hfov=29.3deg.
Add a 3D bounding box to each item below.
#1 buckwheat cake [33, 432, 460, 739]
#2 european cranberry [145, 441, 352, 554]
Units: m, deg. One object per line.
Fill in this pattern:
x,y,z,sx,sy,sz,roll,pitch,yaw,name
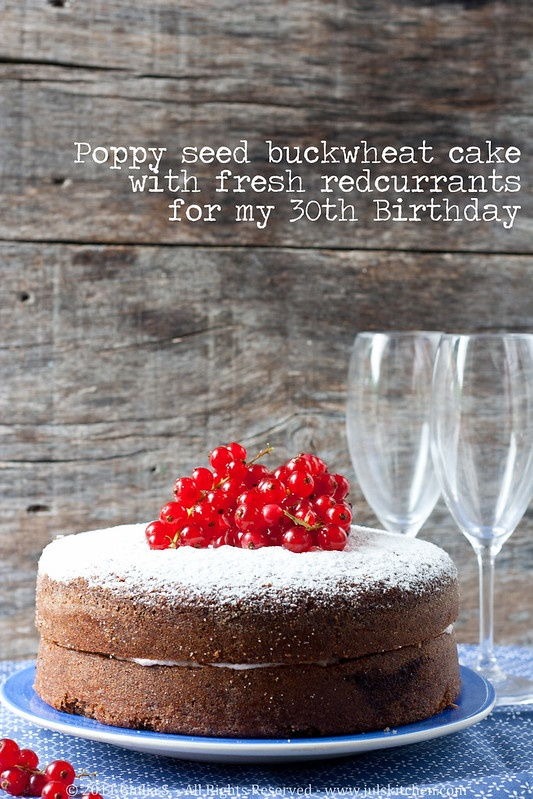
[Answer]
-0.010,0.146,0.872,0.272,0.141,0.274,-4,-12,37,buckwheat cake
-0.020,0.096,0.949,0.145,0.065,0.104,-13,16,41,european cranberry
